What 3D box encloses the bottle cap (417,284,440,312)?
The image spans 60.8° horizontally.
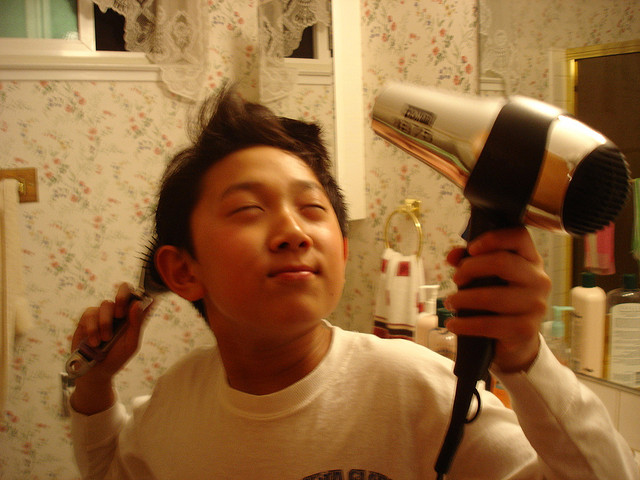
[{"bbox_3d":[0.267,0.145,1.380,0.057,0.084,0.051,-1,-2,5],"label":"bottle cap"}]

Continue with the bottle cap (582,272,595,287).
[{"bbox_3d":[0.529,0.080,1.082,0.024,0.028,0.025,0,-4,12],"label":"bottle cap"}]

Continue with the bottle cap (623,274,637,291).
[{"bbox_3d":[0.584,0.082,1.032,0.026,0.031,0.027,2,0,6],"label":"bottle cap"}]
